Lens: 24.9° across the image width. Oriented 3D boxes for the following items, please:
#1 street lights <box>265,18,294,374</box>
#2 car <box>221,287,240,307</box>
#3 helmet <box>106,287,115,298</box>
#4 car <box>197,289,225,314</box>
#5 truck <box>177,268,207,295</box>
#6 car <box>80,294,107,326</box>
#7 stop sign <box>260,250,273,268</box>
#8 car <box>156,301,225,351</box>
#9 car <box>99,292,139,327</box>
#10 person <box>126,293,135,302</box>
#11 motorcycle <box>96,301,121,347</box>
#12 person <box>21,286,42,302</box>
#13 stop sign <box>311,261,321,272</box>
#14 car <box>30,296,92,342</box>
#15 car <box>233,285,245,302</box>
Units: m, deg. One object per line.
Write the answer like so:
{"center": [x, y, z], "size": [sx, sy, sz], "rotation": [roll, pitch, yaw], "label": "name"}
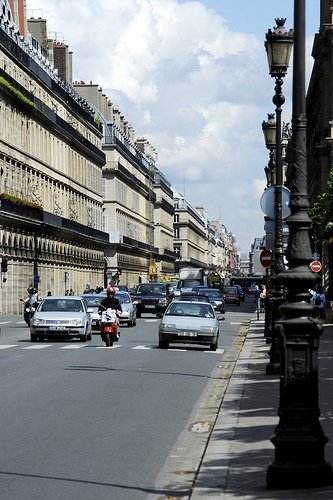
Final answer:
{"center": [2.180, -1.196, 14.905], "size": [0.733, 6.400, 0.758], "rotation": [-1, 11, 5], "label": "street lights"}
{"center": [7.017, 5.264, 82.450], "size": [1.498, 1.489, 2.785], "rotation": [1, 12, 6], "label": "car"}
{"center": [-1.721, 1.326, 23.350], "size": [0.224, 0.328, 0.310], "rotation": [2, -9, -9], "label": "helmet"}
{"center": [3.167, 3.410, 51.383], "size": [1.173, 1.188, 2.505], "rotation": [0, -9, 4], "label": "car"}
{"center": [2.564, 3.353, 79.375], "size": [1.760, 2.619, 5.215], "rotation": [-1, -6, 9], "label": "truck"}
{"center": [-3.282, 2.559, 34.012], "size": [1.112, 1.222, 2.423], "rotation": [2, 14, 4], "label": "car"}
{"center": [3.398, 0.316, 26.059], "size": [0.098, 0.605, 0.568], "rotation": [-3, 4, -39], "label": "stop sign"}
{"center": [0.632, 2.367, 22.893], "size": [1.711, 1.472, 1.994], "rotation": [-1, -5, 4], "label": "car"}
{"center": [-2.110, 2.817, 35.398], "size": [1.148, 1.205, 2.574], "rotation": [-1, -6, 5], "label": "car"}
{"center": [-1.732, 2.258, 36.046], "size": [0.473, 0.415, 0.837], "rotation": [1, -8, 0], "label": "person"}
{"center": [-1.762, 2.276, 23.478], "size": [0.662, 1.491, 1.247], "rotation": [0, -5, -4], "label": "motorcycle"}
{"center": [-6.296, 2.245, 35.523], "size": [0.520, 0.609, 1.030], "rotation": [-1, -1, 1], "label": "person"}
{"center": [5.544, 0.632, 28.392], "size": [0.473, 0.600, 0.111], "rotation": [-3, 14, 15], "label": "stop sign"}
{"center": [-3.559, 2.369, 25.378], "size": [1.847, 1.558, 2.090], "rotation": [0, -5, -5], "label": "car"}
{"center": [9.702, 5.921, 99.293], "size": [1.817, 1.881, 3.147], "rotation": [1, 8, 4], "label": "car"}
